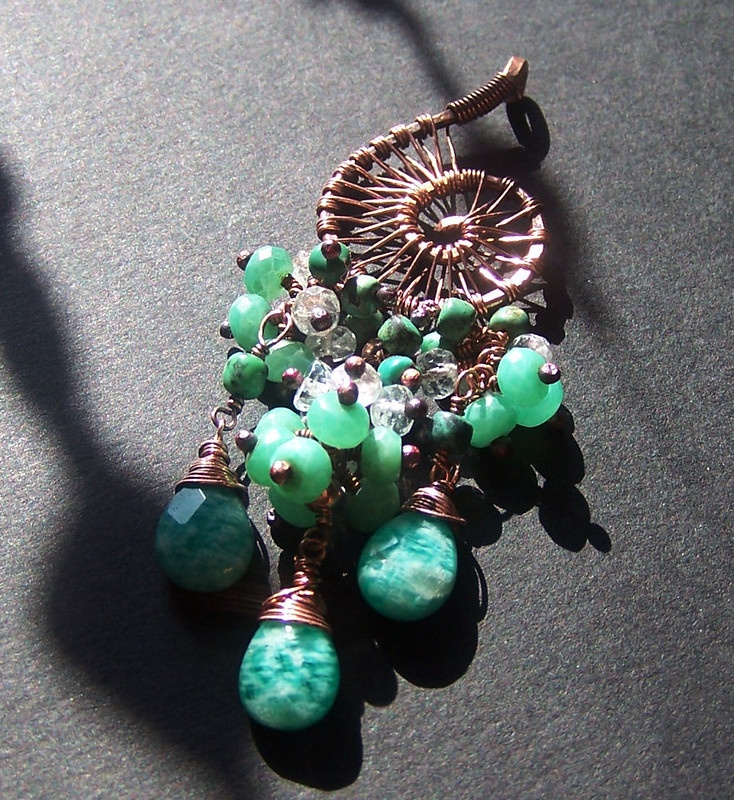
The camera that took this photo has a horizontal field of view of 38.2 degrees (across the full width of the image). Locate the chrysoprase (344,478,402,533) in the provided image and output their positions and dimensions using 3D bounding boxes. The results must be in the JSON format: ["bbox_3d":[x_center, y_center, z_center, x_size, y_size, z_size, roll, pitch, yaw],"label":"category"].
[{"bbox_3d":[0.011,0.207,2.098,0.105,0.056,0.100,-28,88,-2],"label":"chrysoprase"}]

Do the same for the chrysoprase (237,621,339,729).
[{"bbox_3d":[-0.139,0.487,1.812,0.177,0.102,0.190,1,86,-3],"label":"chrysoprase"}]

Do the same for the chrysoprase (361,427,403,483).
[{"bbox_3d":[0.030,0.108,2.031,0.082,0.103,0.101,2,92,-1],"label":"chrysoprase"}]
